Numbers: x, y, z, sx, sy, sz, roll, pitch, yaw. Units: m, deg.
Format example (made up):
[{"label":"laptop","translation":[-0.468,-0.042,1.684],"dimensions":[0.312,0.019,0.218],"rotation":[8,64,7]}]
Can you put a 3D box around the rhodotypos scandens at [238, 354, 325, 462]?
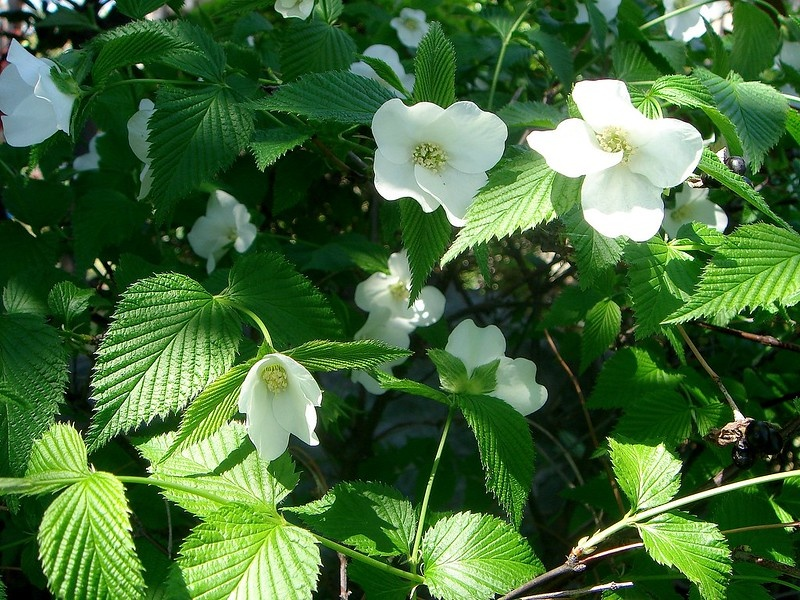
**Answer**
[{"label":"rhodotypos scandens","translation":[-0.199,0.189,1.256],"dimensions":[0.112,0.216,0.110],"rotation":[15,17,37]}]

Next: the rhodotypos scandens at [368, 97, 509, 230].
[{"label":"rhodotypos scandens","translation":[0.053,-0.232,1.193],"dimensions":[0.185,0.224,0.081],"rotation":[7,6,-2]}]

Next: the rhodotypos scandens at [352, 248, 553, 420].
[{"label":"rhodotypos scandens","translation":[0.080,0.103,1.624],"dimensions":[0.400,0.153,0.282],"rotation":[21,54,9]}]

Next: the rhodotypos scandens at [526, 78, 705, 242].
[{"label":"rhodotypos scandens","translation":[0.349,-0.232,1.257],"dimensions":[0.197,0.256,0.082],"rotation":[6,54,-18]}]
